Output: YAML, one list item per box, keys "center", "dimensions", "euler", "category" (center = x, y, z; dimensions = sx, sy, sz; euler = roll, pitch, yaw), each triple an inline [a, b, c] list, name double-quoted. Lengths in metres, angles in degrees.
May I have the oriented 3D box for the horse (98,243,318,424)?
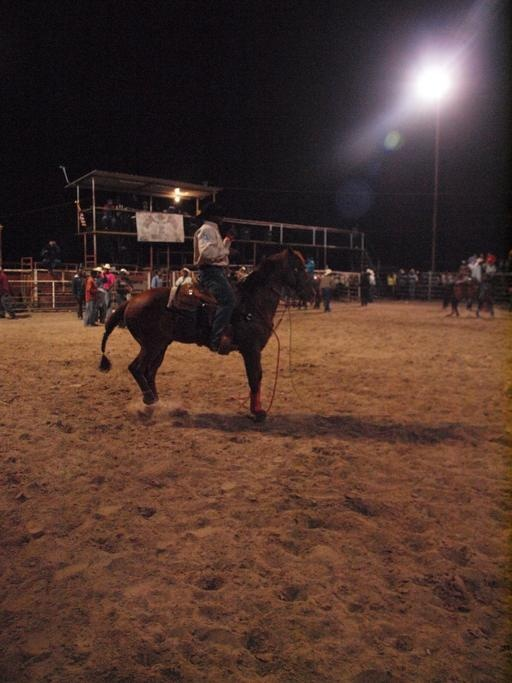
- center: [-0.546, -0.082, 6.352]
  dimensions: [2.304, 1.923, 0.641]
  euler: [1, 7, -2]
  category: "horse"

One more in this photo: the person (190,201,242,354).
- center: [-0.432, -0.659, 6.011]
  dimensions: [0.397, 1.526, 0.557]
  euler: [-1, 11, -7]
  category: "person"

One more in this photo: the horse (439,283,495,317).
- center: [7.710, -1.552, 20.914]
  dimensions: [1.554, 1.303, 3.586]
  euler: [4, 12, 17]
  category: "horse"
